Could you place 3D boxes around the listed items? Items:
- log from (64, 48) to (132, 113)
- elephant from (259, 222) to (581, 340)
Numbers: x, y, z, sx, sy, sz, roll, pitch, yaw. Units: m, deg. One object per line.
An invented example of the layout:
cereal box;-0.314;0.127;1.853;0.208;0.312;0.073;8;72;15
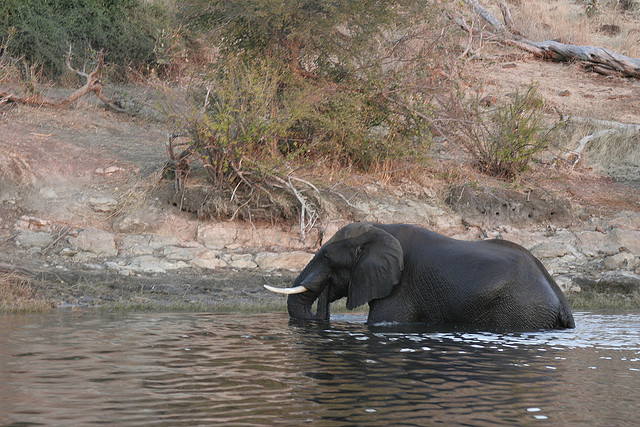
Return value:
log;-6.301;-3.477;27.918;2.262;1.427;0.885;8;-3;-41
elephant;1.874;1.313;19.662;7.978;1.994;2.971;4;9;8
